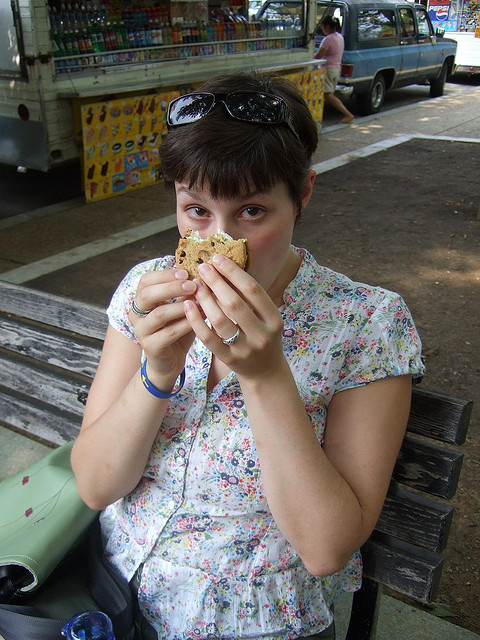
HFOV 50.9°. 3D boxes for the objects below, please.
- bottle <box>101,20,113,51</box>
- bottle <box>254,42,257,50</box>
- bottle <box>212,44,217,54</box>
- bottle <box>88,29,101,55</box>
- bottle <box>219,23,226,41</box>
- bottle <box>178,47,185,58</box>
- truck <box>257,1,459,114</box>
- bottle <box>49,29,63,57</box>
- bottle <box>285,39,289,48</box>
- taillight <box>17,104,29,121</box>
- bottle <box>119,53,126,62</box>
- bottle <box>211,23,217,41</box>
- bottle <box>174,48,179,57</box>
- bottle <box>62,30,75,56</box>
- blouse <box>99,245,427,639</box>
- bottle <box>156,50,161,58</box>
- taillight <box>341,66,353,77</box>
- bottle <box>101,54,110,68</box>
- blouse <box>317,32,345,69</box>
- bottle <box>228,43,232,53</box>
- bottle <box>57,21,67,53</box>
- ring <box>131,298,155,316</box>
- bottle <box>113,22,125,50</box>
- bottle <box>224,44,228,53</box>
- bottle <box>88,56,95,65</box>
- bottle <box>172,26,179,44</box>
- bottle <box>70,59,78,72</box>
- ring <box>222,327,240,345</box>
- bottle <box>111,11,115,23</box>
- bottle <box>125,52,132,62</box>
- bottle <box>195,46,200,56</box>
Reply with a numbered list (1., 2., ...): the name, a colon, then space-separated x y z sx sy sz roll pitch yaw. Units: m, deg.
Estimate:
1. bottle: -1.986 -4.205 7.507 0.107 0.322 0.207 -18 41 -22
2. bottle: 0.311 -5.424 10.003 0.059 0.115 0.130 -2 36 -3
3. bottle: -0.455 -4.875 9.096 0.033 0.150 0.146 24 42 27
4. bottle: -2.103 -4.017 7.265 0.113 0.273 0.199 -2 37 -3
5. bottle: -0.318 -5.301 9.279 0.100 0.256 0.247 6 37 7
6. bottle: -0.990 -4.522 8.548 0.048 0.147 0.162 5 12 33
7. truck: 3.140 -6.703 13.363 3.179 2.218 5.857 23 42 34
8. bottle: -2.479 -3.730 6.796 0.115 0.285 0.350 -11 38 -14
9. bottle: 0.983 -5.771 10.547 0.064 0.147 0.180 18 39 22
10. taillight: -2.868 -2.740 6.683 0.210 0.191 0.049 -5 17 39
11. bottle: -1.791 -3.979 7.659 0.079 0.104 0.167 -6 36 -9
12. bottle: -0.469 -5.200 9.115 0.103 0.256 0.157 -2 37 -3
13. bottle: -1.059 -4.480 8.464 0.057 0.128 0.149 18 39 21
14. bottle: -2.337 -3.731 6.850 0.119 0.228 0.196 -10 38 -13
15. blouse: 0.011 0.319 1.297 0.740 0.784 0.762 21 41 25
16. bottle: -1.318 -4.294 8.151 0.061 0.106 0.121 2 36 1
17. taillight: 2.368 -5.502 11.185 0.245 0.280 0.228 -1 27 2
18. bottle: -1.957 -3.770 7.334 0.102 0.123 0.448 -8 36 -11
19. blouse: 1.978 -5.798 10.893 0.783 0.695 0.415 -30 49 -27
20. bottle: -0.185 -5.107 9.484 0.034 0.155 0.138 14 38 17
21. bottle: -2.416 -3.830 6.839 0.099 0.339 0.394 -8 37 -11
22. ring: -0.202 -0.021 1.044 0.040 0.027 0.036 10 48 -14
23. bottle: -1.855 -4.321 7.678 0.128 0.326 0.305 -9 38 -12
24. bottle: -0.261 -5.043 9.387 0.029 0.136 0.127 19 40 22
25. bottle: -2.101 -3.692 7.171 0.067 0.091 0.165 6 36 8
26. bottle: -1.086 -4.770 8.477 0.103 0.238 0.177 -4 37 -6
27. bottle: -2.272 -3.470 6.885 0.086 0.135 0.141 -10 38 -14
28. ring: -0.011 0.026 0.894 0.029 0.010 0.028 -35 4 3
29. bottle: -1.938 -4.632 7.718 0.046 0.127 0.213 -7 36 -10
30. bottle: -1.714 -4.033 7.741 0.145 0.107 0.077 -24 43 -30
31. bottle: -0.748 -4.702 8.837 0.060 0.161 0.113 -1 16 -3
